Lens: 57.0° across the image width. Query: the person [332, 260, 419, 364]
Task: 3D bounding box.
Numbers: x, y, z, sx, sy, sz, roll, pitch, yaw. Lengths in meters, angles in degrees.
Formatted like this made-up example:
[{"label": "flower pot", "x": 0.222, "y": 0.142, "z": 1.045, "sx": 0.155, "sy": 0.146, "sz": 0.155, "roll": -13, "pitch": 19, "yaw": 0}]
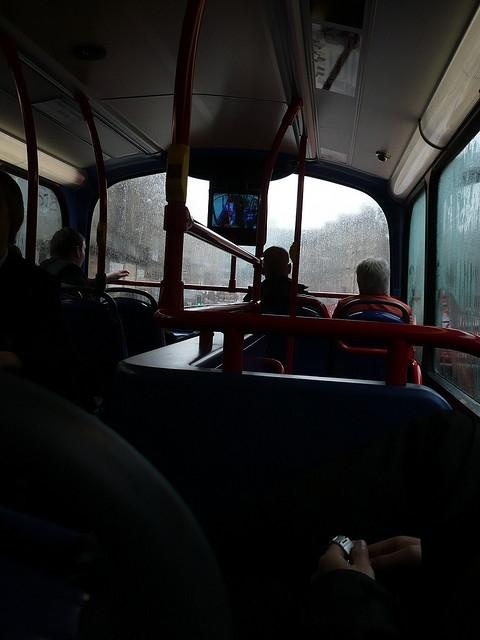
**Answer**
[{"label": "person", "x": 0.734, "y": -0.128, "z": 2.471, "sx": 0.420, "sy": 0.660, "sz": 1.250, "roll": 4, "pitch": -3, "yaw": 21}]
